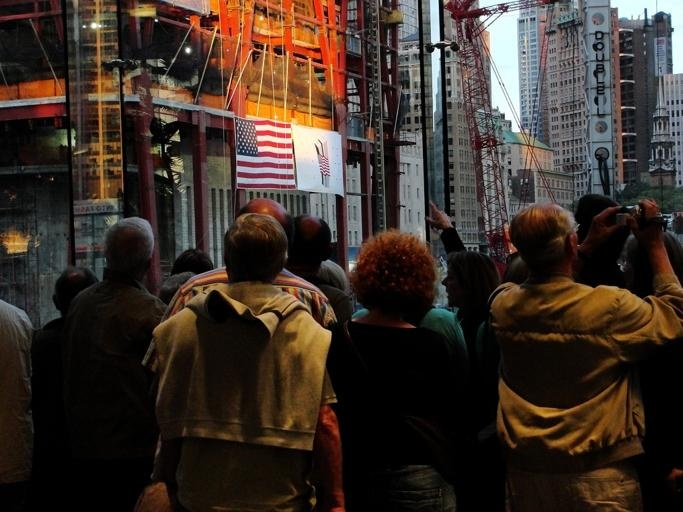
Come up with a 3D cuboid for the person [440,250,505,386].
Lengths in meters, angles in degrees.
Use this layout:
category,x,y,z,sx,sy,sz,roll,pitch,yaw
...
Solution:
category,x,y,z,sx,sy,sz,roll,pitch,yaw
person,0.870,0.429,7.760,0.399,1.135,0.354,-5,-28,9
